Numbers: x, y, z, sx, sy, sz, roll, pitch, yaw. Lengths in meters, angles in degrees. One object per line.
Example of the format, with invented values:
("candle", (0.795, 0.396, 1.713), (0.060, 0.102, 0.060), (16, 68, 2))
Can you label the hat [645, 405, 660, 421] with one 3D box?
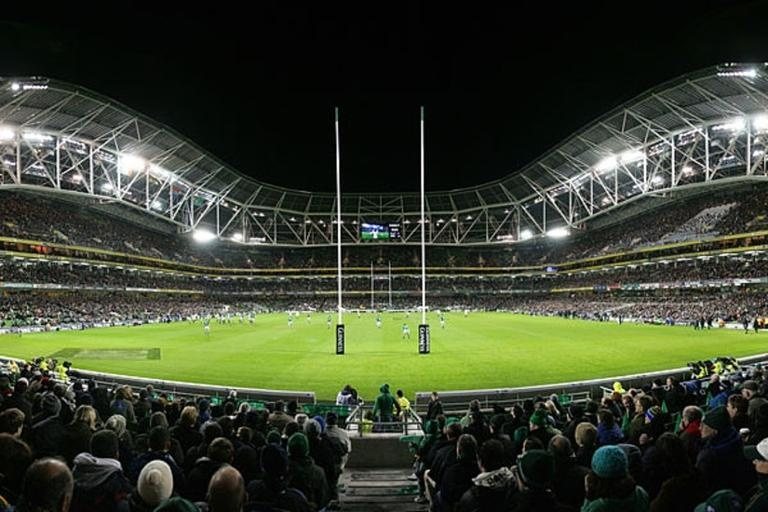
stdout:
("hat", (15.607, 9.185, 38.502), (0.866, 0.709, 0.828), (3, -1, -30))

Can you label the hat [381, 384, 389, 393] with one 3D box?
("hat", (0.049, 8.415, 41.768), (0.460, 0.526, 0.572), (1, -10, -3))
